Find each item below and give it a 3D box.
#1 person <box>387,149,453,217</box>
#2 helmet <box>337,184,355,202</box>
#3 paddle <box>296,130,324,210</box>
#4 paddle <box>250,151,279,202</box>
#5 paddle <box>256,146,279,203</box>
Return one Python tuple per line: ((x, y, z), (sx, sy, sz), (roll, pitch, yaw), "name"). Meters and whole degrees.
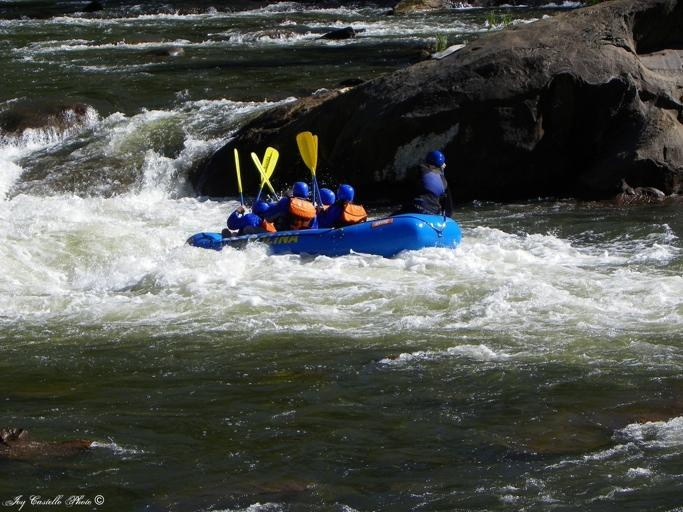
((1.086, -0.929, 14.733), (0.674, 0.864, 0.873), (1, 12, 24), "person")
((0.012, -0.810, 14.748), (0.205, 0.254, 0.311), (-3, 11, 3), "helmet")
((-0.472, -1.322, 15.861), (0.326, 1.332, 0.192), (-7, -10, 33), "paddle")
((-1.174, -1.098, 16.509), (0.143, 0.881, 0.382), (8, 2, 22), "paddle")
((-1.141, -1.295, 16.479), (0.315, 1.064, 0.156), (-28, -34, 25), "paddle")
